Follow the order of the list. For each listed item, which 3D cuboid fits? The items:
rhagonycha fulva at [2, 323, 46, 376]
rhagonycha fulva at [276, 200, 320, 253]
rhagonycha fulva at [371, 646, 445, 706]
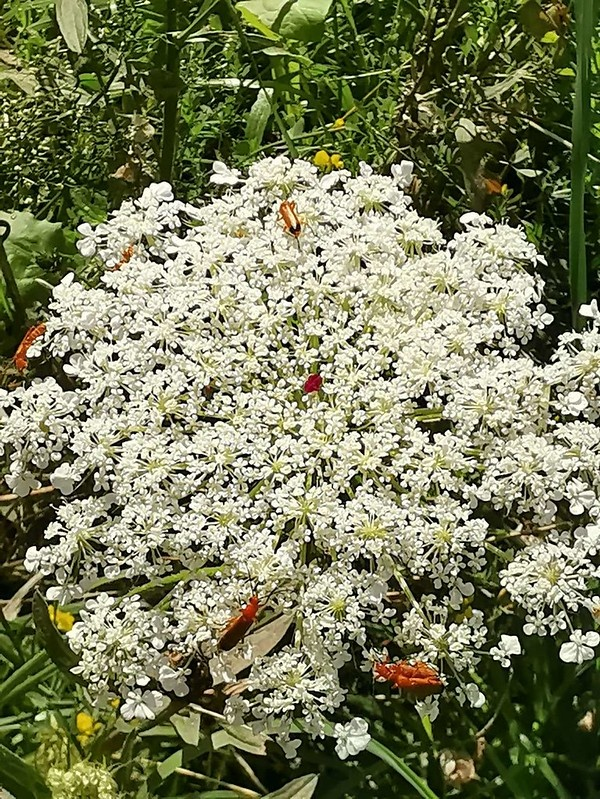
[{"bbox_3d":[-0.788,-0.143,2.094,0.047,0.109,0.148,23,76,37],"label":"rhagonycha fulva"},{"bbox_3d":[-0.015,-0.400,1.692,0.072,0.147,0.044,-14,63,8],"label":"rhagonycha fulva"},{"bbox_3d":[0.231,0.644,1.716,0.208,0.112,0.054,3,15,23],"label":"rhagonycha fulva"}]
